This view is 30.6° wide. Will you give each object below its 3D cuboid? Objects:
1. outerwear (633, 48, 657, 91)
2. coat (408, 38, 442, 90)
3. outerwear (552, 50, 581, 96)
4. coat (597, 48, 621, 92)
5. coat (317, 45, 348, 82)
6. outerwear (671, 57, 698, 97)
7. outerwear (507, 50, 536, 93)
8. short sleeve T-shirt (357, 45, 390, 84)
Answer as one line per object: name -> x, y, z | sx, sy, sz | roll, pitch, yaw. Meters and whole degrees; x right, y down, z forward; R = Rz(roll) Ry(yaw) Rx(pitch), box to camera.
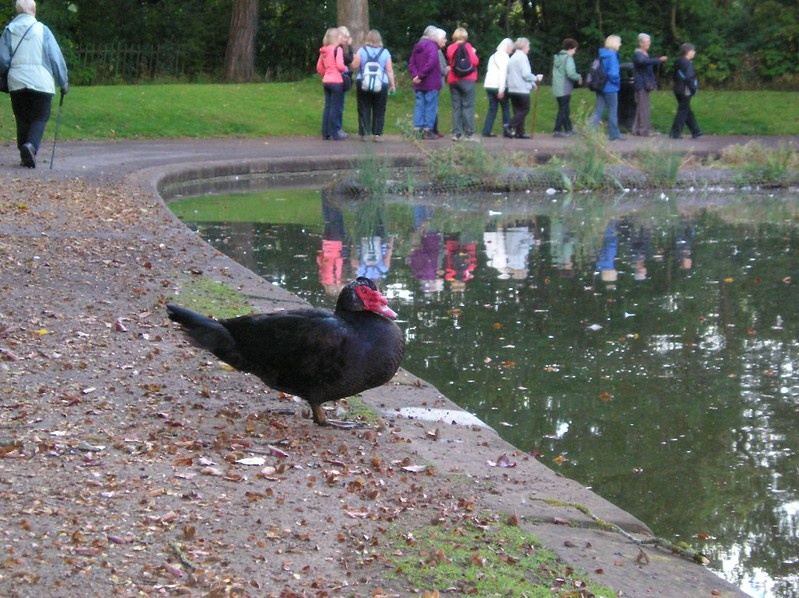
outerwear -> 4.989, -4.656, 29.847 | 0.449, 0.845, 1.349 | 2, 9, 9
coat -> 0.494, -4.476, 27.940 | 0.585, 0.996, 0.516 | 4, 10, 25
outerwear -> 3.323, -4.472, 29.170 | 0.503, 0.926, 1.213 | 1, 9, 6
coat -> 4.103, -4.472, 28.653 | 0.389, 0.876, 0.440 | 1, 9, 4
coat -> -1.290, -4.479, 27.981 | 0.714, 0.759, 0.687 | -3, -3, 6
outerwear -> 5.587, -4.397, 28.884 | 0.415, 0.696, 0.752 | -5, 14, -18
outerwear -> 2.356, -4.357, 28.171 | 0.682, 0.810, 0.500 | 3, 9, 15
short sleeve T-shirt -> -0.486, -4.390, 27.460 | 0.797, 0.817, 0.450 | 1, 3, -4
